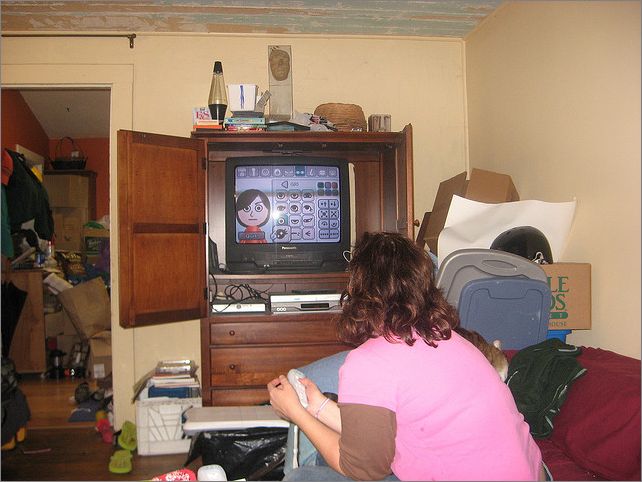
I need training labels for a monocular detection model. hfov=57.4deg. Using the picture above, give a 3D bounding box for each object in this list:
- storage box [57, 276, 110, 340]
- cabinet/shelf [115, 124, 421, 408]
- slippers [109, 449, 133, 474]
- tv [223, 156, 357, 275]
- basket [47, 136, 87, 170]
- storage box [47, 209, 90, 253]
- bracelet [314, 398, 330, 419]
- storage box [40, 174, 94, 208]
[{"bbox_3d":[-2.133,0.513,5.513,0.484,0.603,0.332,6,-20,-9],"label":"storage box"},{"bbox_3d":[-0.388,0.165,4.073,1.831,1.784,0.958,-2,9,-19],"label":"cabinet/shelf"},{"bbox_3d":[-1.258,1.374,3.691,0.140,0.117,0.208,-1,4,-17],"label":"slippers"},{"bbox_3d":[-0.238,-0.148,4.284,0.898,0.829,0.507,0,-14,-1],"label":"tv"},{"bbox_3d":[-3.038,-1.050,7.003,0.390,0.381,0.187,-2,-17,-11],"label":"basket"},{"bbox_3d":[-2.856,-0.140,6.760,0.399,0.493,0.285,-2,4,-31],"label":"storage box"},{"bbox_3d":[0.004,0.705,2.474,0.022,0.075,0.058,25,-7,-6],"label":"bracelet"},{"bbox_3d":[-2.967,-0.574,6.946,0.598,0.474,0.609,2,3,13],"label":"storage box"}]
